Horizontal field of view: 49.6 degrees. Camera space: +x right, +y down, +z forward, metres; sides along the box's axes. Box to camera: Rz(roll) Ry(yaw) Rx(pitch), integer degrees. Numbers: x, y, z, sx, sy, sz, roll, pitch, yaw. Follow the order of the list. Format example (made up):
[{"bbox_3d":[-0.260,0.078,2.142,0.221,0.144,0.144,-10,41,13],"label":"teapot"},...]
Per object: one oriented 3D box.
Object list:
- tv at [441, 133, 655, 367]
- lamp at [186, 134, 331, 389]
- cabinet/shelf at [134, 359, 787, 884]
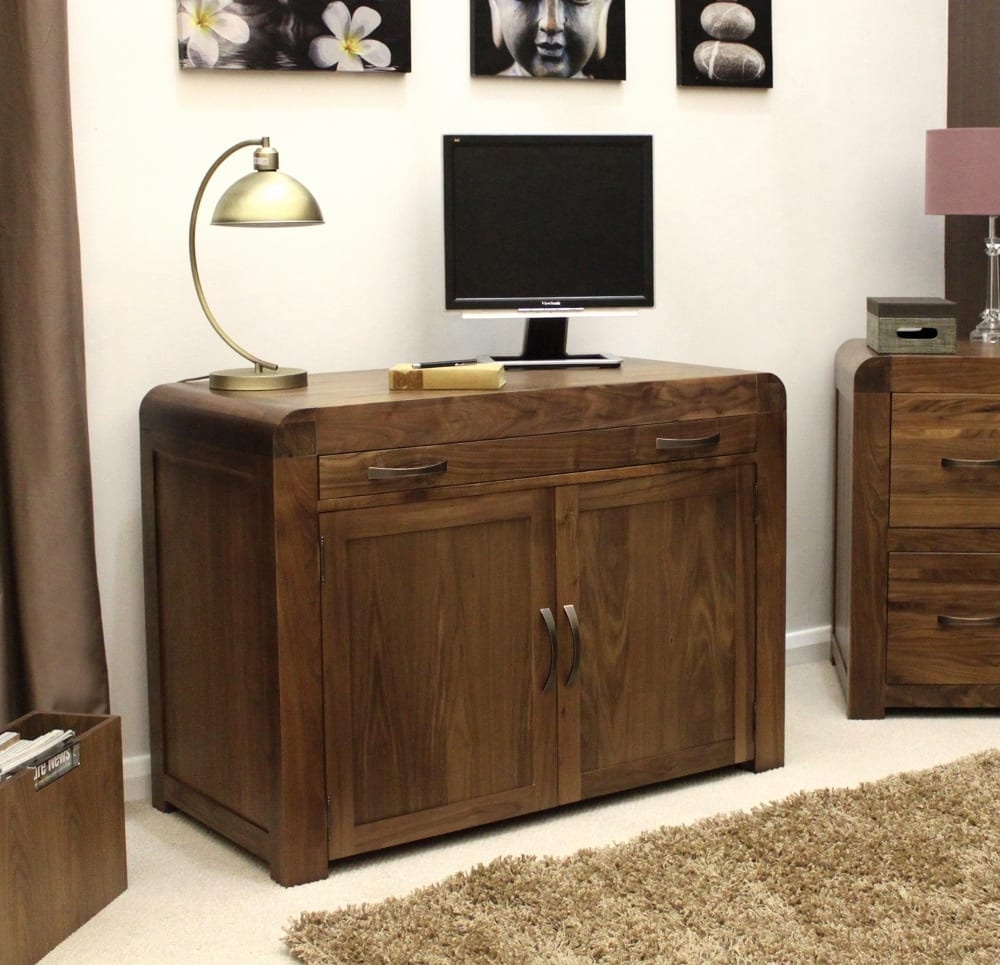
[{"bbox_3d":[0.111,-0.504,2.479,0.478,0.637,0.165,0,-22,-1],"label":"tv"},{"bbox_3d":[-0.491,-0.458,2.192,0.268,0.551,0.518,-3,5,-16],"label":"lamp"},{"bbox_3d":[0.022,0.163,2.356,1.133,0.929,0.644,-7,17,-24],"label":"cabinet/shelf"}]
